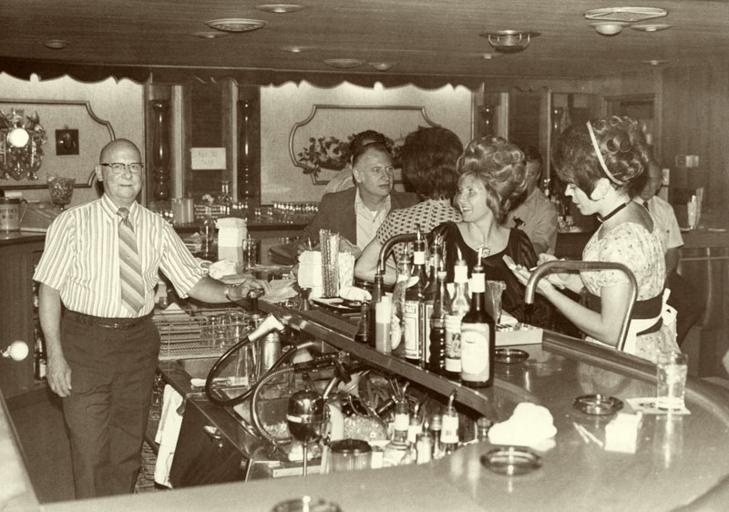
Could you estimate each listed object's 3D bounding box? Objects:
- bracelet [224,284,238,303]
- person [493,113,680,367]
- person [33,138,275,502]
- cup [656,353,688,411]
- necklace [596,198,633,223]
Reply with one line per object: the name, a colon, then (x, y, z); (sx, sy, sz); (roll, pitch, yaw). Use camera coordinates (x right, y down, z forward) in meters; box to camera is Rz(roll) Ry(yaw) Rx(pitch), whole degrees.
bracelet: (-0.795, 0.218, 4.368); (0.044, 0.079, 0.111); (-1, -5, -17)
person: (1.143, 0.162, 3.587); (0.686, 1.489, 0.618); (4, 19, 41)
person: (-1.433, 0.336, 4.297); (0.452, 1.932, 0.888); (8, 18, 34)
cup: (1.125, 0.442, 2.736); (0.100, 0.188, 0.236); (4, 16, 22)
necklace: (1.141, -0.203, 3.406); (0.120, 0.030, 0.096); (-34, 5, 13)
